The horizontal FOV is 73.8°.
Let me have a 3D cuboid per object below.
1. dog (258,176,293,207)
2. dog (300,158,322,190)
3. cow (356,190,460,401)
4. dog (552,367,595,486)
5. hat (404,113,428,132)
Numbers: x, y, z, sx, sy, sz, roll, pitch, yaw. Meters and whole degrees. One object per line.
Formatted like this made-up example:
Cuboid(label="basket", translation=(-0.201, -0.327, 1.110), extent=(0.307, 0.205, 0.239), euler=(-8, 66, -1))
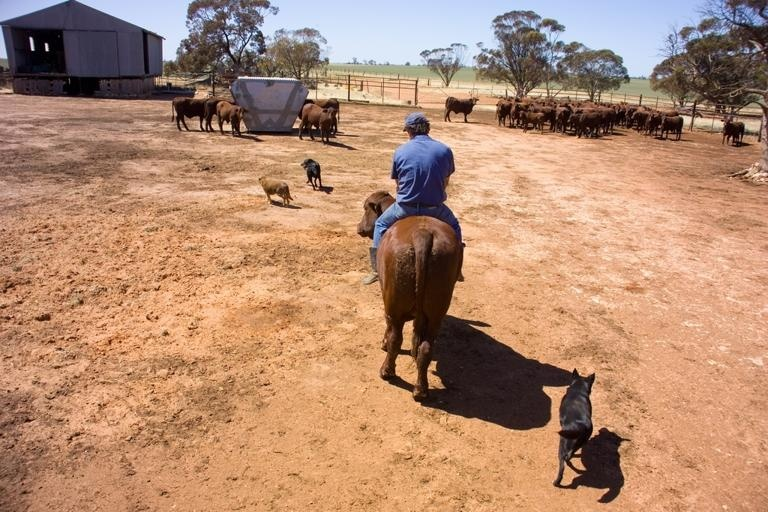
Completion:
Cuboid(label="dog", translation=(-2.572, -1.537, 12.286), extent=(0.808, 0.554, 0.524), euler=(16, 23, 34))
Cuboid(label="dog", translation=(-1.910, -2.194, 13.641), extent=(0.507, 0.743, 0.749), euler=(-1, 19, -8))
Cuboid(label="cow", translation=(0.334, 0.607, 6.858), extent=(0.859, 1.554, 2.566), euler=(0, 19, -5))
Cuboid(label="dog", translation=(2.273, 2.109, 6.148), extent=(0.350, 0.786, 1.537), euler=(5, 32, 18))
Cuboid(label="hat", translation=(0.441, -1.858, 7.110), extent=(0.245, 0.176, 0.333), euler=(1, 27, 2))
